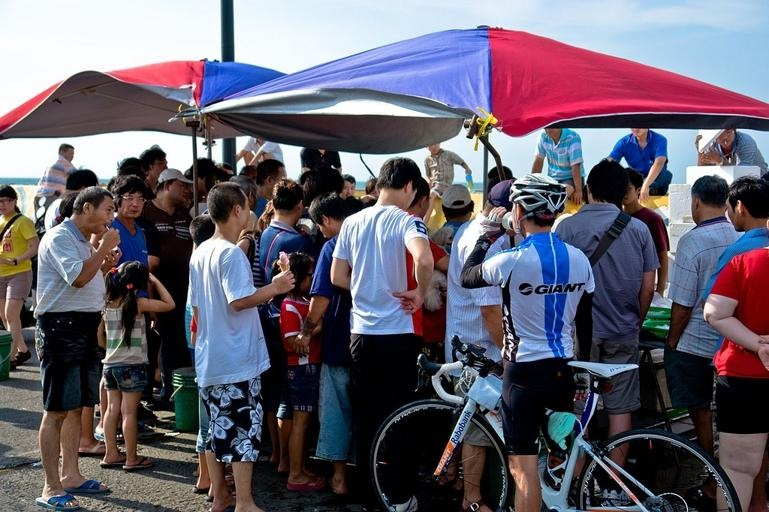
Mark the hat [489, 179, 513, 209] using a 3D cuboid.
[{"bbox_3d":[0.900,-0.487,5.610,0.211,0.211,0.134,5,13,28],"label":"hat"}]

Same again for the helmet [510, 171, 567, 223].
[{"bbox_3d":[1.090,-0.420,5.073,0.383,0.305,0.181,1,11,9],"label":"helmet"}]

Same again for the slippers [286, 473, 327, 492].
[{"bbox_3d":[-0.685,1.970,6.292,0.254,0.084,0.142,-1,-1,-2],"label":"slippers"}]

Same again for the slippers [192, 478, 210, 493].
[{"bbox_3d":[-1.617,2.004,6.262,0.182,0.083,0.094,5,12,26],"label":"slippers"}]

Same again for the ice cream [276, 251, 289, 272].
[{"bbox_3d":[-0.821,0.045,5.956,0.115,0.185,0.187,0,5,2],"label":"ice cream"}]

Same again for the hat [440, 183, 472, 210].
[{"bbox_3d":[0.672,-0.569,6.587,0.260,0.216,0.428,5,15,11],"label":"hat"}]

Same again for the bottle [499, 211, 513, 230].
[{"bbox_3d":[0.932,-0.261,5.403,0.113,0.115,0.089,24,-7,25],"label":"bottle"}]
